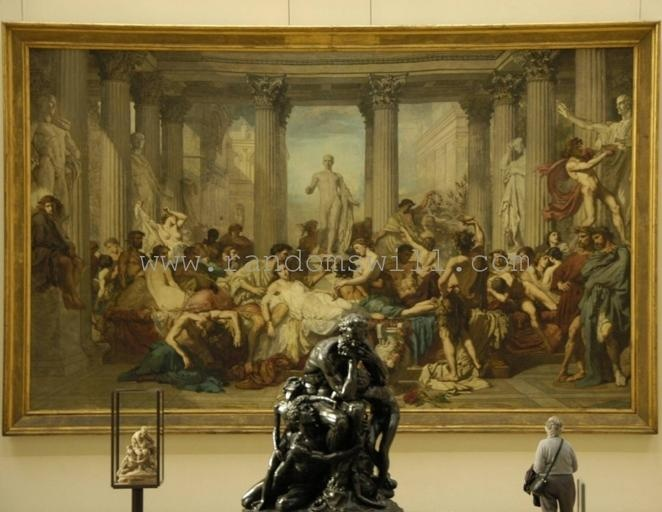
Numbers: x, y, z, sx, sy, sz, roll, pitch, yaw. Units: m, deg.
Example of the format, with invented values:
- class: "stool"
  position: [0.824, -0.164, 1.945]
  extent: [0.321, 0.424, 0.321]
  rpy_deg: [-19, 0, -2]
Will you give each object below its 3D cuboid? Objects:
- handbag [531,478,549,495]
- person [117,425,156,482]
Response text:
- class: "handbag"
  position: [2.699, 2.946, 21.613]
  extent: [0.144, 0.210, 0.109]
  rpy_deg: [25, 5, -37]
- class: "person"
  position: [-2.483, 2.556, 21.766]
  extent: [0.518, 0.714, 0.297]
  rpy_deg: [0, -3, -5]
